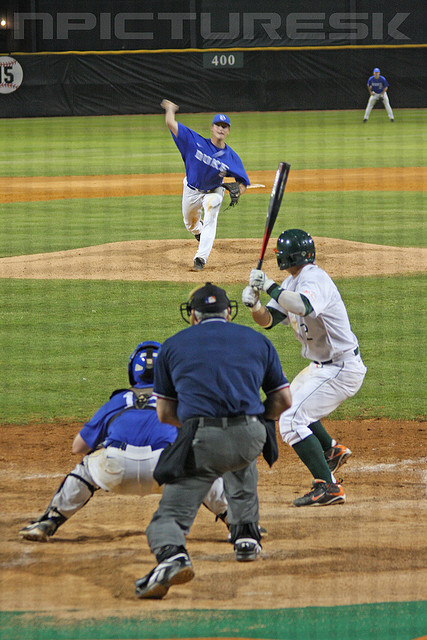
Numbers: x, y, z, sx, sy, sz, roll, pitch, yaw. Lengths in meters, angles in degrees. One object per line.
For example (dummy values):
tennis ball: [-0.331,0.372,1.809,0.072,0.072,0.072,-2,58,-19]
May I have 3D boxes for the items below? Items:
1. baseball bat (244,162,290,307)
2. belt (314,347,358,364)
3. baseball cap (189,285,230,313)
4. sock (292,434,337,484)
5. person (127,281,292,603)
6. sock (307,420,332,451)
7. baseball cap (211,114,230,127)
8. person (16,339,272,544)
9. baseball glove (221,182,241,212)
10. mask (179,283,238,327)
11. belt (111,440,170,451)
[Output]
baseball bat: [0.336,-0.524,5.454,0.105,0.832,0.104,14,26,1]
belt: [0.680,0.202,5.085,0.234,0.092,0.113,1,-2,6]
baseball cap: [-0.021,-0.092,4.054,0.180,0.127,0.177,1,-2,3]
sock: [0.534,0.736,4.864,0.233,0.258,0.089,1,-1,4]
person: [-0.012,0.535,4.070,0.685,1.401,0.751,2,-1,4]
sock: [0.587,0.651,5.113,0.071,0.139,0.203,-23,-50,21]
baseball cap: [0.083,-2.220,10.111,0.200,0.124,0.297,3,-6,-1]
person: [-0.339,0.629,4.496,1.218,0.855,0.599,1,-14,-4]
baseball glove: [0.197,-1.425,10.287,0.216,0.272,0.561,1,-2,4]
mask: [-0.004,-0.057,4.319,0.304,0.253,0.261,-1,14,-10]
belt: [-0.345,0.583,4.254,0.260,0.046,0.045,1,-2,-5]
